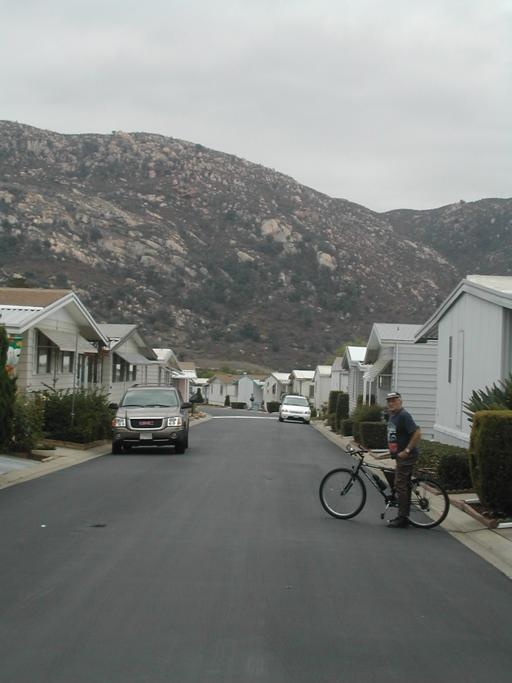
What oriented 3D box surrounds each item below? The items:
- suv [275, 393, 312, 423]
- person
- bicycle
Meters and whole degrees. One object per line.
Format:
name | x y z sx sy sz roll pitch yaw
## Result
suv | 2.739 4.867 45.453 2.077 1.918 2.801 2 -5 -5
person | 2.027 1.621 8.876 0.436 1.803 0.752 1 -4 14
bicycle | 1.858 2.176 9.530 2.011 1.277 1.047 4 -7 11
